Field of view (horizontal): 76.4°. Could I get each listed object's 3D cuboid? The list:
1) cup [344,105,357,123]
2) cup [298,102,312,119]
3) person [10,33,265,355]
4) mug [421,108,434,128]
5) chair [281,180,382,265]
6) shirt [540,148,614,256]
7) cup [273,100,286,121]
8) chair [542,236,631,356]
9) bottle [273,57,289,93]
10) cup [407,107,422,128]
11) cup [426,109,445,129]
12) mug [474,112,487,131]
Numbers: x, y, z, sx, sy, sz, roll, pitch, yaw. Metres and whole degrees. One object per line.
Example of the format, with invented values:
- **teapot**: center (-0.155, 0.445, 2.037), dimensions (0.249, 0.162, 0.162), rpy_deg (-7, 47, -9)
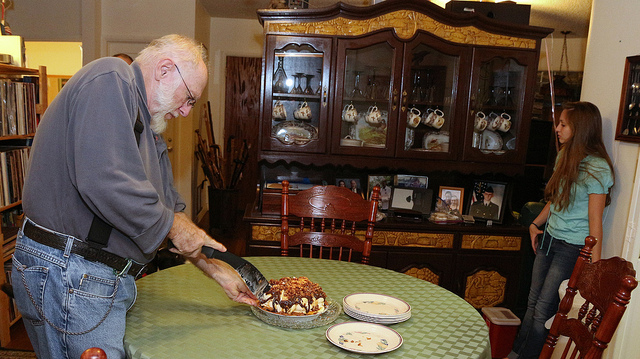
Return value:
- **cup**: center (0.286, -0.602, 3.709), dimensions (0.147, 0.133, 0.104), rpy_deg (-6, 15, -20)
- **cup**: center (-0.131, -0.621, 3.701), dimensions (0.164, 0.211, 0.128), rpy_deg (0, 1, -4)
- **person**: center (-1.063, 0.095, 2.070), dimensions (0.981, 1.728, 0.420), rpy_deg (1, 7, -15)
- **mug**: center (0.995, -0.587, 3.754), dimensions (0.080, 0.125, 0.132), rpy_deg (2, -2, 21)
- **chair**: center (0.117, 0.372, 3.501), dimensions (0.792, 0.786, 1.283), rpy_deg (4, 6, 9)
- **shirt**: center (1.979, 0.192, 3.108), dimensions (0.317, 0.701, 0.312), rpy_deg (-1, 1, -4)
- **cup**: center (-0.362, -0.631, 3.684), dimensions (0.124, 0.160, 0.051), rpy_deg (-4, 4, -10)
- **chair**: center (1.427, 0.654, 2.109), dimensions (0.379, 0.624, 0.342), rpy_deg (-1, 8, -29)
- **bottle**: center (-0.353, -0.965, 3.723), dimensions (0.175, 0.353, 0.168), rpy_deg (0, 5, 0)
- **cup**: center (0.874, -0.572, 3.742), dimensions (0.123, 0.169, 0.109), rpy_deg (3, 18, 5)
- **cup**: center (1.067, -0.561, 3.722), dimensions (0.122, 0.164, 0.054), rpy_deg (24, 13, 5)
- **mug**: center (1.499, -0.540, 3.769), dimensions (0.120, 0.163, 0.102), rpy_deg (-1, 7, 11)
